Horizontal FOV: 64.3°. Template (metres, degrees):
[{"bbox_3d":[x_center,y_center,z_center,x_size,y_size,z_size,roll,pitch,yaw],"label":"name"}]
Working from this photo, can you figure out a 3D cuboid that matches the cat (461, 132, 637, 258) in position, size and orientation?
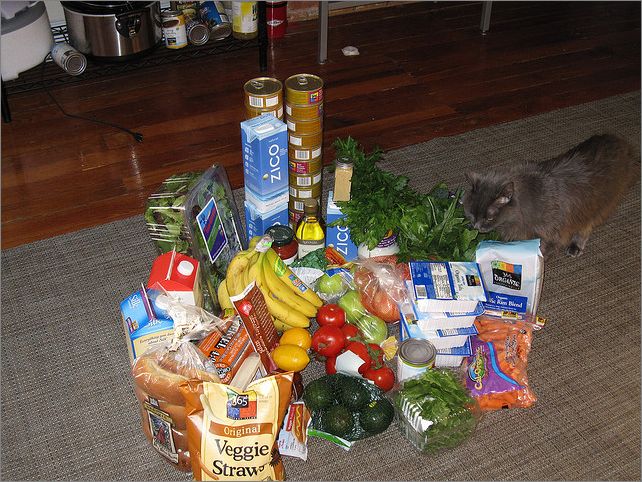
[{"bbox_3d":[1.044,-0.180,2.296,0.808,0.337,0.240,-28,38,-2],"label":"cat"}]

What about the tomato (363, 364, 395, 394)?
[{"bbox_3d":[0.215,0.495,1.870,0.098,0.082,0.091,5,17,15],"label":"tomato"}]

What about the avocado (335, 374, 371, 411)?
[{"bbox_3d":[0.124,0.525,1.771,0.089,0.113,0.082,-21,49,16],"label":"avocado"}]

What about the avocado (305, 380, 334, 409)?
[{"bbox_3d":[-0.002,0.527,1.745,0.074,0.069,0.086,37,9,9],"label":"avocado"}]

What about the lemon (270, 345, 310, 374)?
[{"bbox_3d":[-0.108,0.421,1.823,0.130,0.071,0.082,13,1,3],"label":"lemon"}]

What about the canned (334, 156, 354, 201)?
[{"bbox_3d":[0.097,-0.249,2.080,0.079,0.188,0.083,3,51,-3],"label":"canned"}]

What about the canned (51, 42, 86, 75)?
[{"bbox_3d":[-1.297,-0.933,2.621,0.139,0.125,0.219,-20,43,-36],"label":"canned"}]

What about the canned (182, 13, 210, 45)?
[{"bbox_3d":[-0.719,-1.192,2.911,0.151,0.135,0.212,-17,57,-19],"label":"canned"}]

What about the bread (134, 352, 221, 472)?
[{"bbox_3d":[-0.455,0.541,1.639,0.298,0.330,0.197,25,36,34],"label":"bread"}]

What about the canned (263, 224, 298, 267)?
[{"bbox_3d":[-0.143,0.005,2.133,0.157,0.162,0.147,-8,49,-3],"label":"canned"}]

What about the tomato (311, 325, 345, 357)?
[{"bbox_3d":[0.033,0.368,1.933,0.125,0.107,0.112,15,32,-1],"label":"tomato"}]

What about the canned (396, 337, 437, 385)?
[{"bbox_3d":[0.348,0.453,1.865,0.134,0.147,0.147,5,43,8],"label":"canned"}]

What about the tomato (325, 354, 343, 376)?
[{"bbox_3d":[0.040,0.456,1.882,0.075,0.062,0.065,-1,-6,-20],"label":"tomato"}]

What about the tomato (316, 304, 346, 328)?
[{"bbox_3d":[0.041,0.289,1.963,0.100,0.080,0.085,1,41,-7],"label":"tomato"}]

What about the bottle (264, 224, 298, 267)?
[{"bbox_3d":[-0.123,0.014,2.119,0.157,0.162,0.147,1,50,4],"label":"bottle"}]

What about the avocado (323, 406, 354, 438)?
[{"bbox_3d":[0.054,0.599,1.777,0.113,0.117,0.100,-6,33,-12],"label":"avocado"}]

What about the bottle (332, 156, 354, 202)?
[{"bbox_3d":[0.098,-0.247,2.087,0.082,0.196,0.086,2,52,-3],"label":"bottle"}]

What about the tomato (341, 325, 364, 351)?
[{"bbox_3d":[0.117,0.367,1.953,0.082,0.073,0.092,20,8,-32],"label":"tomato"}]

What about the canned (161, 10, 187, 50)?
[{"bbox_3d":[-0.766,-1.163,2.842,0.178,0.169,0.157,-1,39,-4],"label":"canned"}]

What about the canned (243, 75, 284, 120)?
[{"bbox_3d":[-0.218,-0.570,2.156,0.183,0.170,0.163,-15,49,-15],"label":"canned"}]

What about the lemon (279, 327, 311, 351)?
[{"bbox_3d":[-0.091,0.363,1.911,0.112,0.071,0.081,-3,5,2],"label":"lemon"}]
